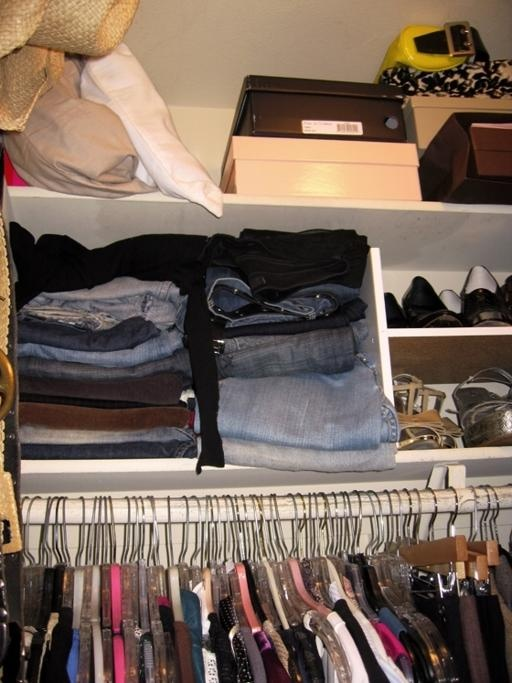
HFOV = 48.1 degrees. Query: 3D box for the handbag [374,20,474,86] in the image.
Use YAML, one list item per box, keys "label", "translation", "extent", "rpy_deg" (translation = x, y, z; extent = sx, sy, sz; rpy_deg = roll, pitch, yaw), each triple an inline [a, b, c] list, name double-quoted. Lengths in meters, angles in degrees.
- label: "handbag"
  translation: [0.448, -0.764, 1.520]
  extent: [0.191, 0.143, 0.181]
  rpy_deg: [-3, 1, -8]
